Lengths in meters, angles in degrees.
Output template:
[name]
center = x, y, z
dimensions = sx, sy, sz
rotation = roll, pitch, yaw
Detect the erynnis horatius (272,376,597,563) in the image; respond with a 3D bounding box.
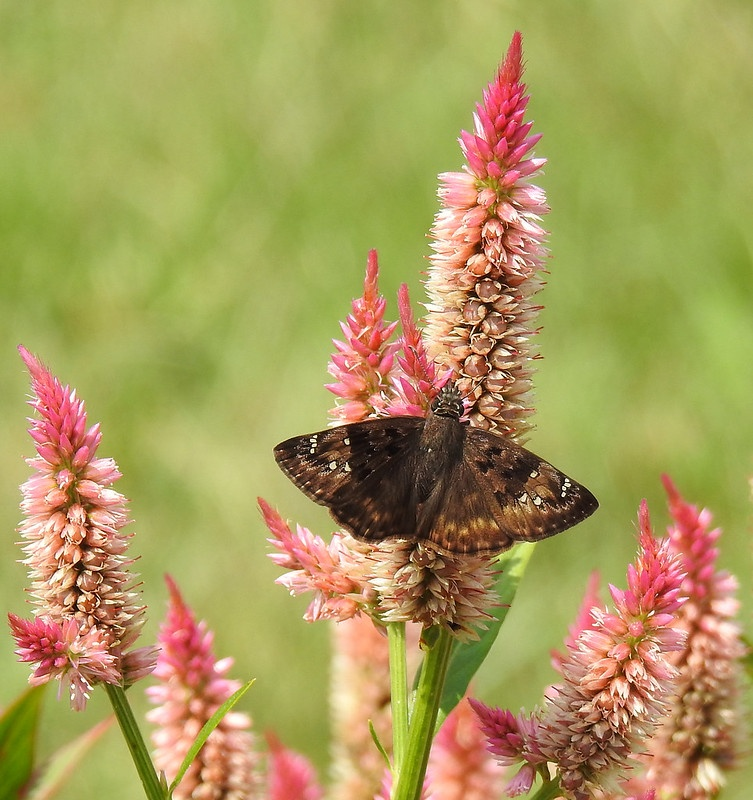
[erynnis horatius]
center = 0.065, 0.086, 1.474
dimensions = 0.413, 0.214, 0.166
rotation = 11, -10, -7
